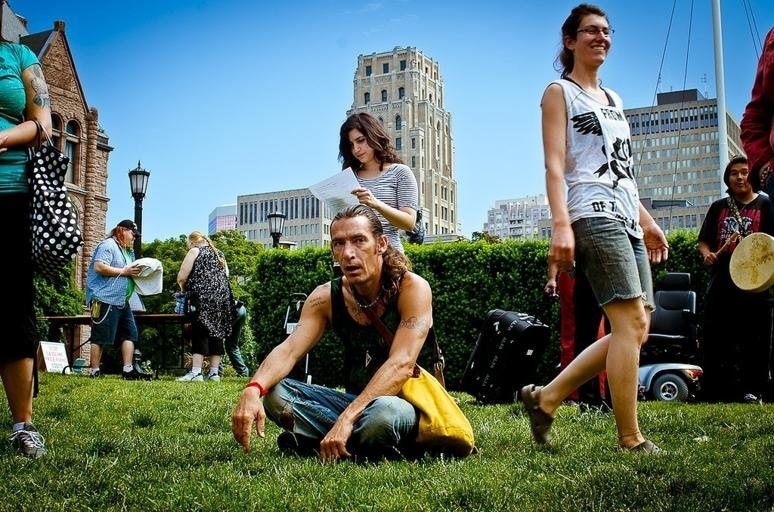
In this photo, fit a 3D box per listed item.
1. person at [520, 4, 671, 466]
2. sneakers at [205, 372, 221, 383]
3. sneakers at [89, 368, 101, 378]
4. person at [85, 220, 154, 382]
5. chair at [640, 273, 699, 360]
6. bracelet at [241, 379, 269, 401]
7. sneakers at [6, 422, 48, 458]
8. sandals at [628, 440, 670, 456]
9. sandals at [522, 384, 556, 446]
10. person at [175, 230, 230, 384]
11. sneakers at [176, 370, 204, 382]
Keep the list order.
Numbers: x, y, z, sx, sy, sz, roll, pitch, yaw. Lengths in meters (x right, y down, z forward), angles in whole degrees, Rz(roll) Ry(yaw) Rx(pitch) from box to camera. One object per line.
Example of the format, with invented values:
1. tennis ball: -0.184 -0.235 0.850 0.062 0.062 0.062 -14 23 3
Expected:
1. person: 1.663 -0.304 6.264 1.162 3.577 0.673 1 -5 -16
2. sneakers: -2.594 1.813 12.028 0.143 0.176 0.410 5 -6 -13
3. sneakers: -4.385 1.754 12.003 0.114 0.142 0.317 3 -4 -24
4. person: -4.092 0.605 12.137 0.854 2.493 1.027 -2 -5 9
5. chair: 3.601 0.674 10.264 0.677 1.181 0.972 -2 -18 36
6. bracelet: -0.987 1.024 6.033 0.157 0.049 0.128 37 10 -28
7. sneakers: -2.765 1.411 6.112 0.243 0.191 0.509 4 5 -39
8. sandals: 1.951 1.427 5.946 0.205 0.071 0.111 0 -3 1
9. sandals: 1.202 1.216 6.293 0.216 0.534 0.189 -8 2 18
10. person: -2.749 0.750 12.179 0.879 2.271 0.788 2 -6 -29
11. sneakers: -2.980 1.832 12.077 0.449 0.203 0.221 0 -10 17
